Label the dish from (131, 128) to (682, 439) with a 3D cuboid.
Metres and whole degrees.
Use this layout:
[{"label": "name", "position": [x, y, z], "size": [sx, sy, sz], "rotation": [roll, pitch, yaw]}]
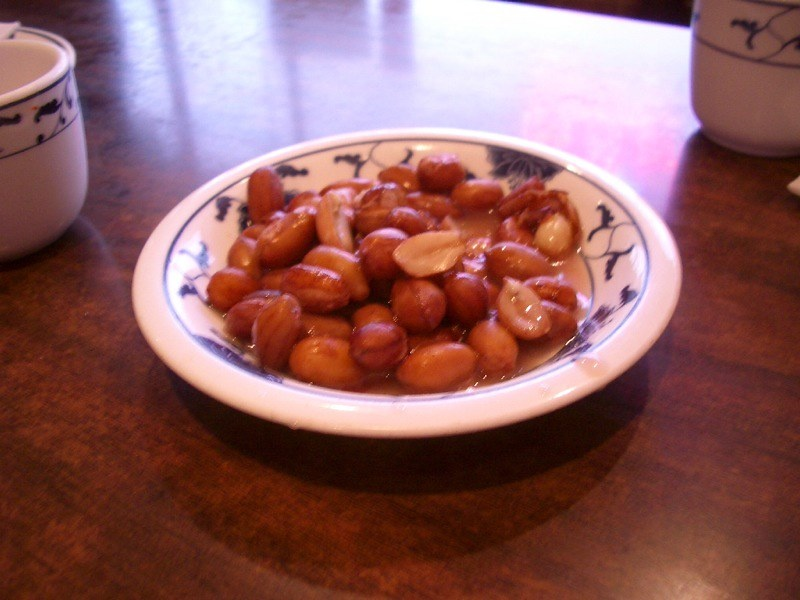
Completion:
[{"label": "dish", "position": [0.004, -0.061, 0.838], "size": [0.640, 0.107, 0.579], "rotation": [-4, 46, -4]}]
